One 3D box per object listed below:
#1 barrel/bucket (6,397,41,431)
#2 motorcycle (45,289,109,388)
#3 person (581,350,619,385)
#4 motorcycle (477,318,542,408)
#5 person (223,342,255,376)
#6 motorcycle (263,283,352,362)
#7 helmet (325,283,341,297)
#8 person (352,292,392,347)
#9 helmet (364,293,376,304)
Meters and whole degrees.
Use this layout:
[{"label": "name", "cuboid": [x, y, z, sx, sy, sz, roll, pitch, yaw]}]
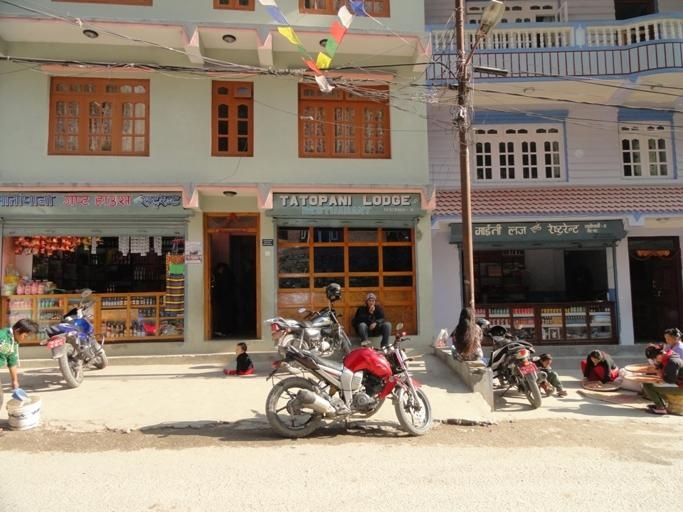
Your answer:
[{"label": "barrel/bucket", "cuboid": [-6.057, 2.985, 13.139, 0.597, 0.429, 0.584, 1, 0, 0]}, {"label": "motorcycle", "cuboid": [-5.865, 1.932, 15.101, 0.594, 1.894, 1.671, -1, -3, 8]}, {"label": "person", "cuboid": [6.168, 2.646, 16.324, 0.881, 0.841, 0.632, -3, 1, -38]}, {"label": "motorcycle", "cuboid": [3.759, 2.438, 15.273, 0.705, 1.717, 1.577, 0, -3, -19]}, {"label": "person", "cuboid": [-2.376, 2.494, 16.437, 0.704, 0.817, 0.667, 1, -8, 2]}, {"label": "motorcycle", "cuboid": [-0.693, 1.453, 13.754, 1.228, 1.260, 2.111, -12, -5, 42]}, {"label": "helmet", "cuboid": [-0.120, 0.703, 14.118, 0.248, 0.300, 0.300, -1, 18, -20]}, {"label": "person", "cuboid": [0.746, 1.679, 17.427, 1.088, 1.647, 1.163, 3, -21, -6]}, {"label": "helmet", "cuboid": [0.742, 1.091, 17.437, 0.283, 0.149, 0.393, 1, 1, 4]}]
